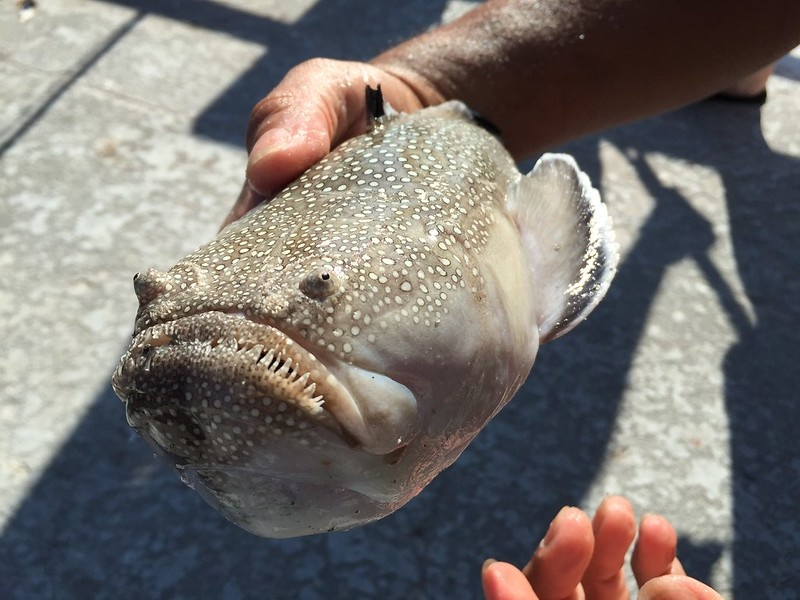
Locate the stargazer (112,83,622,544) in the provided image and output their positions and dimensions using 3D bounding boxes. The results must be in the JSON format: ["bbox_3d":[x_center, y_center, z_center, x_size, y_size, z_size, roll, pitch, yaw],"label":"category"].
[{"bbox_3d":[0.050,-0.028,2.113,0.576,0.479,1.019,2,35,42],"label":"stargazer"}]
